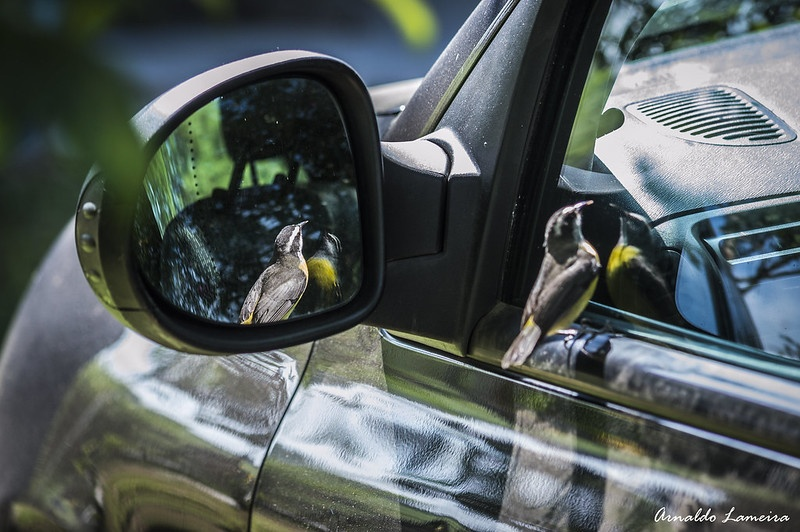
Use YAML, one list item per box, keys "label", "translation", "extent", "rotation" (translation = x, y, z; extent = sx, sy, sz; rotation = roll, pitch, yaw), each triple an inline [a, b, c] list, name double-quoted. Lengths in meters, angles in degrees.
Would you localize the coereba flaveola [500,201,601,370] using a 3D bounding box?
- label: "coereba flaveola"
  translation: [0.301, 0.047, 1.499]
  extent: [0.126, 0.236, 0.254]
  rotation: [21, 52, 25]
